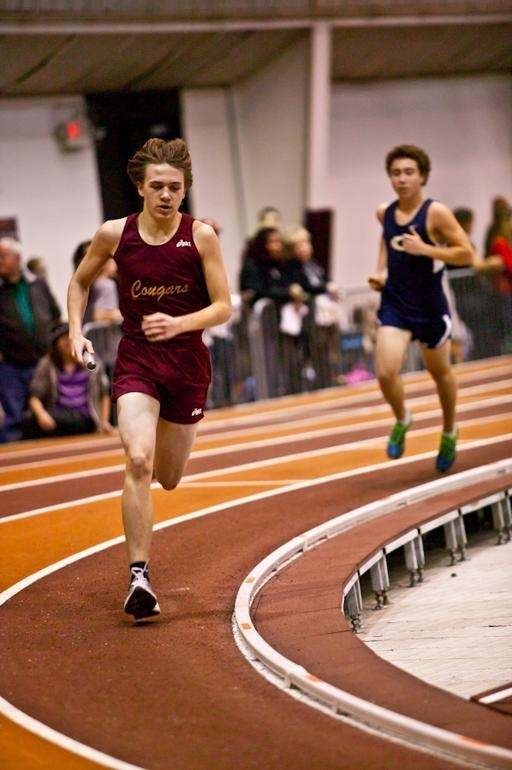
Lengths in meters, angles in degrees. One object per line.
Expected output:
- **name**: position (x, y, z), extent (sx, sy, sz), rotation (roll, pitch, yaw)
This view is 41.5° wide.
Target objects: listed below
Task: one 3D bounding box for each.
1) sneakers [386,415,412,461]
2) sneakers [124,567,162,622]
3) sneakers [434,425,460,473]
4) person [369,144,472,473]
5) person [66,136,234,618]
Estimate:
- **sneakers**: position (0.979, 0.375, 4.682), extent (0.127, 0.357, 0.149), rotation (13, -13, 21)
- **sneakers**: position (-0.378, 0.681, 2.202), extent (0.104, 0.179, 0.103), rotation (-6, 0, -12)
- **sneakers**: position (1.199, 0.400, 4.302), extent (0.108, 0.282, 0.127), rotation (13, 9, 34)
- **person**: position (1.034, -0.460, 4.207), extent (0.638, 1.961, 0.792), rotation (-6, 0, 9)
- **person**: position (-0.380, -0.066, 2.580), extent (0.617, 1.807, 0.807), rotation (-6, 0, -15)
